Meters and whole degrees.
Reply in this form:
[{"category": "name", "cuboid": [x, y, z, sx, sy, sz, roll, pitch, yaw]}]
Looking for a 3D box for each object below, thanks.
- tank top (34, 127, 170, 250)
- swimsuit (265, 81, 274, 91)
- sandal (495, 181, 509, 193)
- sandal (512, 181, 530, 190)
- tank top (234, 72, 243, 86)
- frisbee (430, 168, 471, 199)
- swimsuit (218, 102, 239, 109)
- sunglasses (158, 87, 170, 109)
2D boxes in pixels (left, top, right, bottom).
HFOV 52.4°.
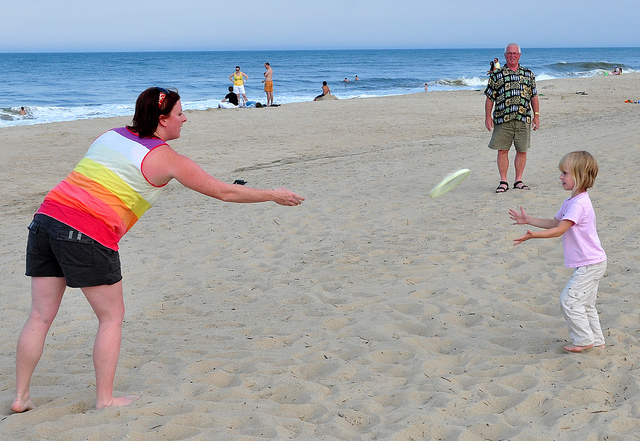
[{"category": "tank top", "cuboid": [-1.682, -0.322, 5.377, 0.846, 0.909, 0.592, 27, -5, 14]}, {"category": "swimsuit", "cuboid": [-2.083, -5.494, 26.523, 0.554, 0.430, 0.349, 0, 5, -7]}, {"category": "sandal", "cuboid": [2.930, -0.560, 10.517, 0.172, 0.157, 0.349, 3, 16, 25]}, {"category": "sandal", "cuboid": [3.233, -0.572, 10.503, 0.300, 0.126, 0.120, 9, 21, 39]}, {"category": "tank top", "cuboid": [-3.314, -5.742, 26.539, 0.328, 0.460, 0.470, -8, 16, -6]}, {"category": "frisbee", "cuboid": [1.604, -0.474, 8.079, 0.469, 0.067, 0.492, -27, -8, 26]}, {"category": "swimsuit", "cuboid": [-3.617, -4.645, 26.297, 0.483, 0.131, 0.495, 7, 8, 43]}, {"category": "sunglasses", "cuboid": [-1.253, -0.990, 5.242, 0.104, 0.156, 0.106, -8, 17, -7]}]
